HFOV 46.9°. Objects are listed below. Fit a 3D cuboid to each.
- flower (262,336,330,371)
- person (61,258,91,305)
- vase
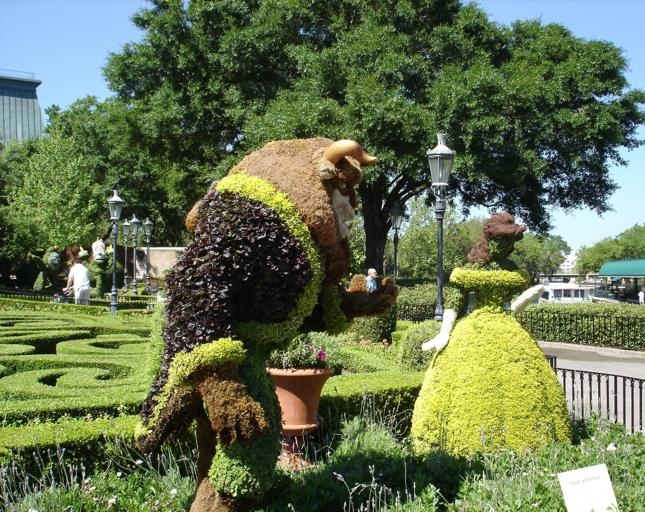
[{"bbox_3d":[-0.266,1.203,8.995,0.517,0.335,0.540,1,-4,-41],"label":"flower"},{"bbox_3d":[-7.049,0.695,21.401,0.701,1.326,2.356,3,-4,-19],"label":"person"},{"bbox_3d":[-0.286,1.824,9.218,0.869,0.861,0.928,-5,-8,27],"label":"vase"}]
